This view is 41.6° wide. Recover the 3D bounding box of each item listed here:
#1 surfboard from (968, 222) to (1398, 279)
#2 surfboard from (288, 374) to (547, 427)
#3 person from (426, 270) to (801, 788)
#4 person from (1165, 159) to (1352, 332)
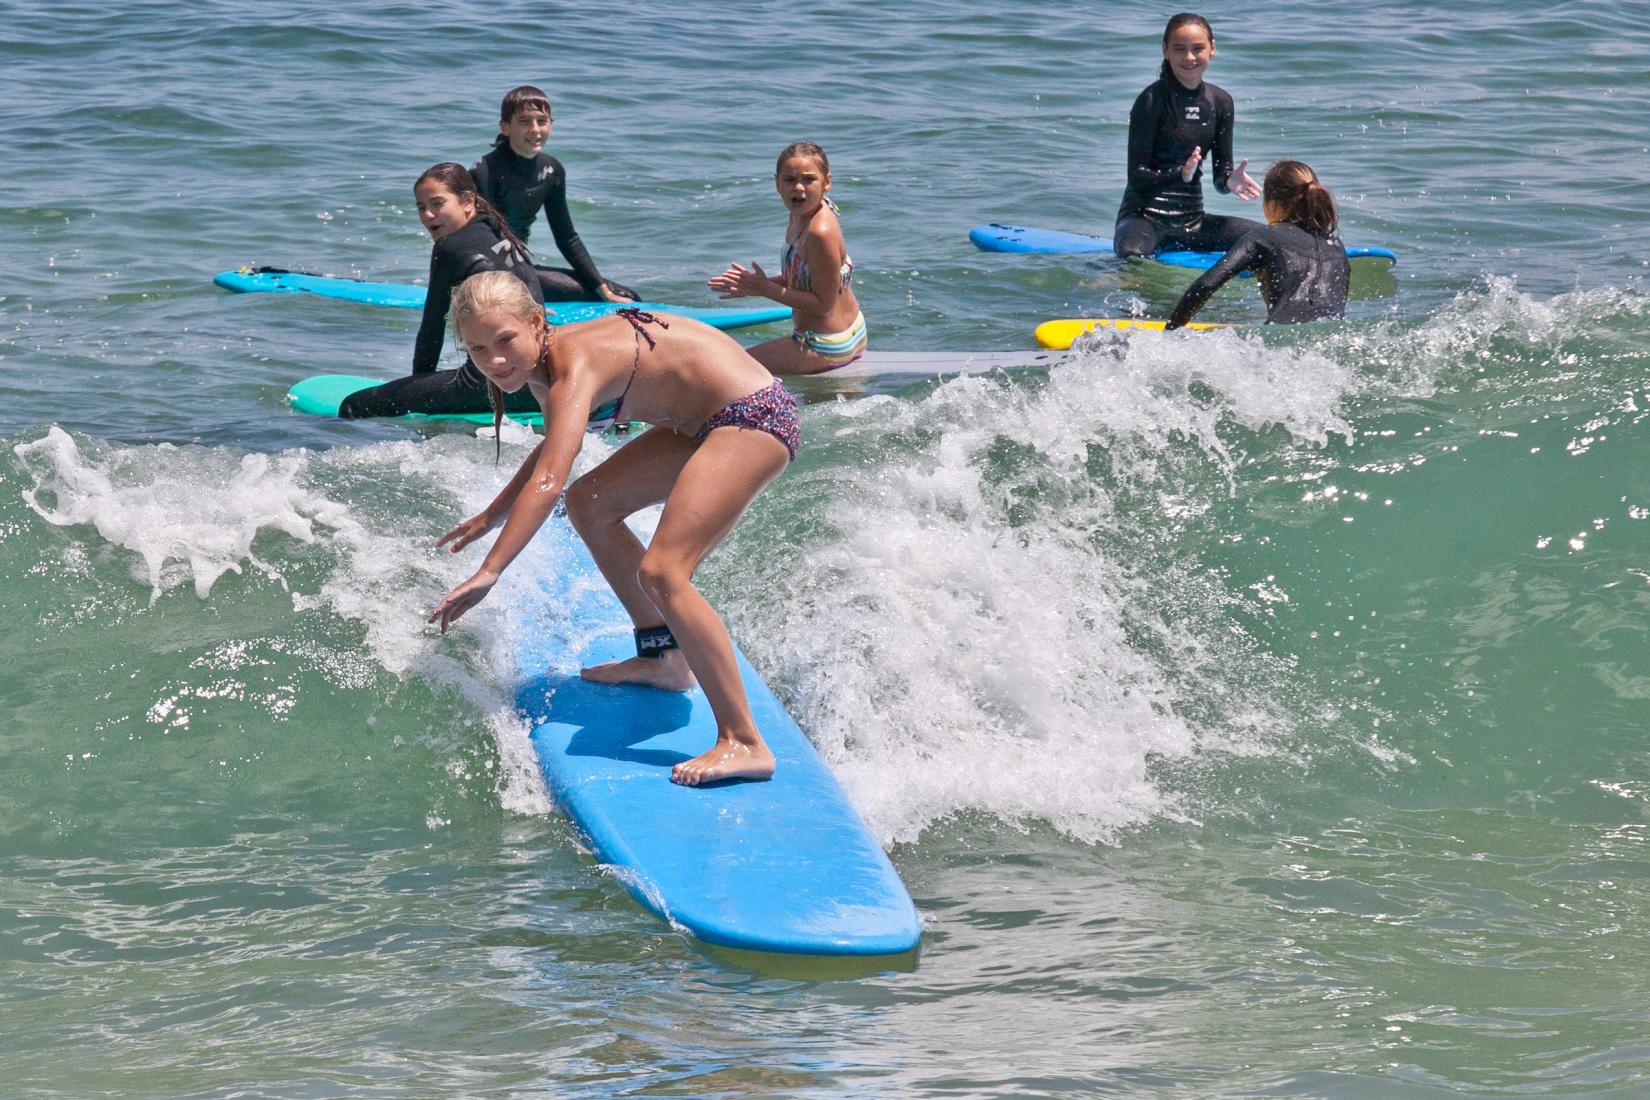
[{"bbox_3d":[2.563,-2.121,15.591,3.692,0.296,0.734,4,13,2],"label":"surfboard"},{"bbox_3d":[-2.761,-0.969,13.717,2.006,0.163,0.517,4,15,14],"label":"surfboard"},{"bbox_3d":[-0.920,-0.118,9.955,1.574,2.340,1.143,-2,29,4],"label":"person"},{"bbox_3d":[2.814,-1.857,13.357,0.784,0.901,0.897,9,29,23],"label":"person"}]
